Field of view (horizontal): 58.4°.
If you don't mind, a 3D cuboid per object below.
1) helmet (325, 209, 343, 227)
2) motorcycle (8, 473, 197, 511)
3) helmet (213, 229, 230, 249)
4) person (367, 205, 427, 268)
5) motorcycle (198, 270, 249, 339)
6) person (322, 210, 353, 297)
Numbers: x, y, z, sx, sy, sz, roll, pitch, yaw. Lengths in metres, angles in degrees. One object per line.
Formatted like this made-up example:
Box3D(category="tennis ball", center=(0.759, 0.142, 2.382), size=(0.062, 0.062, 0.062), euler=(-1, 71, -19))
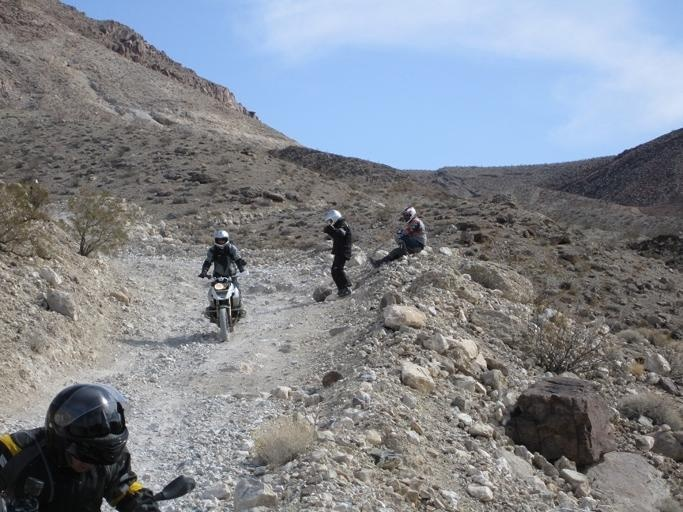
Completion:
Box3D(category="helmet", center=(-0.226, -1.065, 17.318), size=(0.601, 0.451, 0.427), euler=(0, 1, 3))
Box3D(category="motorcycle", center=(-2.508, 2.459, 6.294), size=(1.922, 0.340, 0.269), euler=(2, -12, -9))
Box3D(category="helmet", center=(-2.942, -0.371, 14.999), size=(0.394, 0.433, 0.502), euler=(-1, -11, -6))
Box3D(category="person", center=(1.771, -0.586, 18.070), size=(1.381, 1.872, 0.929), euler=(-1, -12, 3))
Box3D(category="motorcycle", center=(-2.825, 1.194, 14.528), size=(0.783, 1.748, 0.948), euler=(-2, -12, 11))
Box3D(category="person", center=(-0.085, -0.073, 17.251), size=(0.733, 2.614, 0.999), euler=(0, -12, 0))
